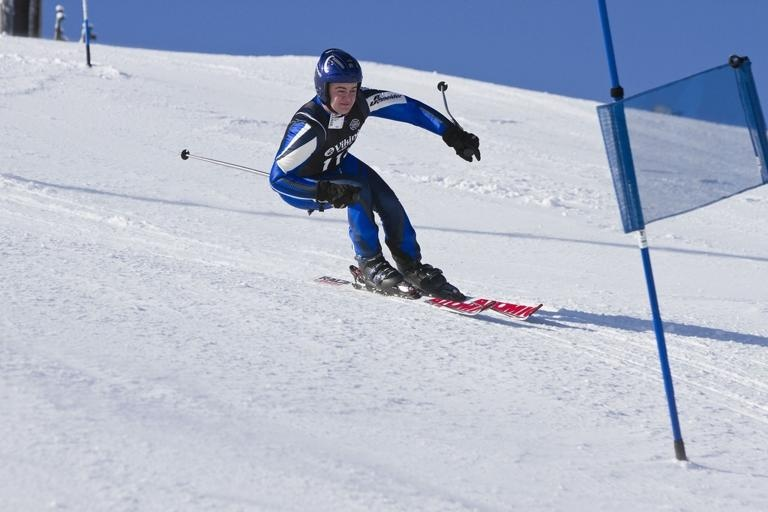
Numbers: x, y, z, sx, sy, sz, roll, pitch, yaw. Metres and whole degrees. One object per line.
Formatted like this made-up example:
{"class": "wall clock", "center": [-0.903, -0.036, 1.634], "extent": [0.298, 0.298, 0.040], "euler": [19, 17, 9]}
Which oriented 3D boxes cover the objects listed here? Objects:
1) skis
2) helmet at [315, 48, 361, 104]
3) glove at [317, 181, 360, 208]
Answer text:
{"class": "skis", "center": [0.321, 0.365, 9.619], "extent": [1.349, 0.062, 0.258], "euler": [9, 9, 8]}
{"class": "helmet", "center": [-0.398, -1.525, 9.440], "extent": [0.387, 0.506, 0.386], "euler": [8, 20, -3]}
{"class": "glove", "center": [-0.399, -0.522, 9.337], "extent": [0.359, 0.093, 0.280], "euler": [9, 4, 3]}
